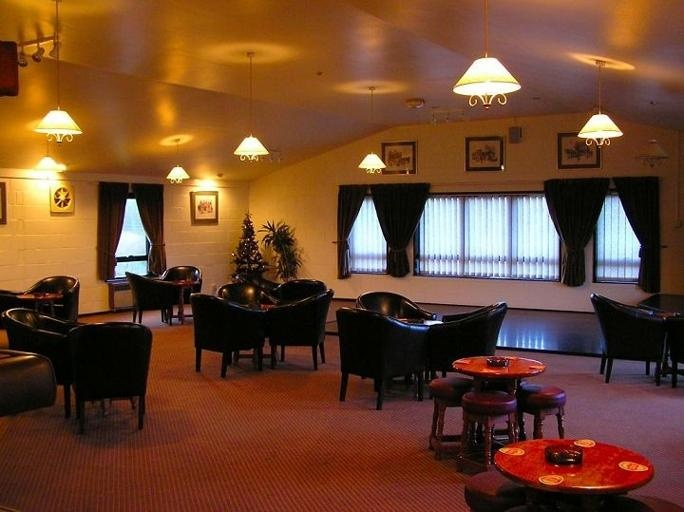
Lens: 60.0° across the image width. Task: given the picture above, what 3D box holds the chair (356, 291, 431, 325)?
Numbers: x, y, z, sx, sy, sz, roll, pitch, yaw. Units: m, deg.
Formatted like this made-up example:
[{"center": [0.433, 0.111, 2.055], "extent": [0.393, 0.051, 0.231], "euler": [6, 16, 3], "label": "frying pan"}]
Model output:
[{"center": [0.656, 0.606, 7.570], "extent": [0.476, 0.538, 0.606], "euler": [3, -14, -39], "label": "chair"}]

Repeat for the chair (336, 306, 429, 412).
[{"center": [0.405, 1.070, 6.637], "extent": [0.941, 0.991, 0.907], "euler": [0, 1, -37], "label": "chair"}]

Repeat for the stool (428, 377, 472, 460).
[{"center": [0.988, 1.446, 5.324], "extent": [0.495, 0.548, 0.477], "euler": [4, -9, -22], "label": "stool"}]

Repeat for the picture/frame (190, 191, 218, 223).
[{"center": [-3.122, -1.101, 13.194], "extent": [0.058, 0.746, 0.769], "euler": [1, 2, 42], "label": "picture/frame"}]

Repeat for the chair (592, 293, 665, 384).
[{"center": [3.277, 1.020, 7.392], "extent": [1.141, 1.078, 1.118], "euler": [1, -4, 10], "label": "chair"}]

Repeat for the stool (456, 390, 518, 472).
[{"center": [1.202, 1.472, 4.906], "extent": [0.411, 0.604, 0.426], "euler": [4, -5, -27], "label": "stool"}]

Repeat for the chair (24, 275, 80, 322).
[{"center": [-4.413, 0.663, 9.025], "extent": [0.773, 0.658, 0.624], "euler": [3, 4, 1], "label": "chair"}]

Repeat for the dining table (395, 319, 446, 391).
[{"center": [0.994, 1.074, 6.916], "extent": [0.682, 0.834, 0.734], "euler": [2, 3, 42], "label": "dining table"}]

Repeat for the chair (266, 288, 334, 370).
[{"center": [-0.575, 0.998, 7.888], "extent": [0.894, 0.930, 0.918], "euler": [2, -5, -13], "label": "chair"}]

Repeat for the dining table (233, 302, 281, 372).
[{"center": [-0.988, 1.050, 8.070], "extent": [0.752, 0.934, 0.808], "euler": [-6, -9, 41], "label": "dining table"}]

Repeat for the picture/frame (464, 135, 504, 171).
[{"center": [2.847, -2.043, 11.715], "extent": [0.753, 0.685, 0.074], "euler": [3, 8, 29], "label": "picture/frame"}]

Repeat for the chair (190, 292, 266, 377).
[{"center": [-1.478, 1.002, 7.706], "extent": [1.000, 0.992, 0.902], "euler": [0, 1, -28], "label": "chair"}]

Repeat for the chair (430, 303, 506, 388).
[{"center": [1.380, 0.927, 6.599], "extent": [0.853, 0.843, 0.747], "euler": [2, 3, 22], "label": "chair"}]

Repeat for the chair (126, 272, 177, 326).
[{"center": [-3.348, 0.755, 10.346], "extent": [0.809, 0.785, 0.738], "euler": [4, -8, -41], "label": "chair"}]

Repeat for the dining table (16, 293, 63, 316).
[{"center": [-4.345, 0.631, 8.582], "extent": [0.421, 0.253, 0.419], "euler": [3, 5, 24], "label": "dining table"}]

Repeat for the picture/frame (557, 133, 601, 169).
[{"center": [4.307, -1.884, 10.673], "extent": [0.921, 0.837, 0.074], "euler": [6, 11, 31], "label": "picture/frame"}]

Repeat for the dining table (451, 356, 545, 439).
[{"center": [1.376, 1.082, 5.234], "extent": [0.769, 0.276, 0.766], "euler": [1, 2, 21], "label": "dining table"}]

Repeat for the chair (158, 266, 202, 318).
[{"center": [-2.946, 0.614, 10.887], "extent": [0.721, 0.842, 0.764], "euler": [0, 4, -31], "label": "chair"}]
